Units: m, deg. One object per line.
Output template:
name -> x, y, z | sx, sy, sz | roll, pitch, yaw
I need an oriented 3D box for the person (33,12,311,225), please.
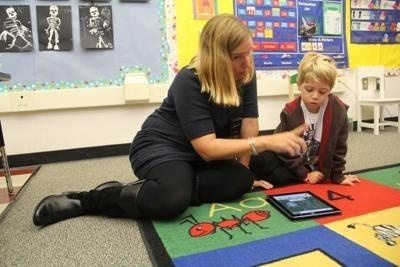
person -> -0.329, -0.047, 1.724 | 1.503, 0.956, 0.974 | -5, -1, 33

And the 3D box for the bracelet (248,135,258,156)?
bracelet -> 0.269, 0.059, 1.394 | 0.027, 0.068, 0.067 | -5, 7, -13
